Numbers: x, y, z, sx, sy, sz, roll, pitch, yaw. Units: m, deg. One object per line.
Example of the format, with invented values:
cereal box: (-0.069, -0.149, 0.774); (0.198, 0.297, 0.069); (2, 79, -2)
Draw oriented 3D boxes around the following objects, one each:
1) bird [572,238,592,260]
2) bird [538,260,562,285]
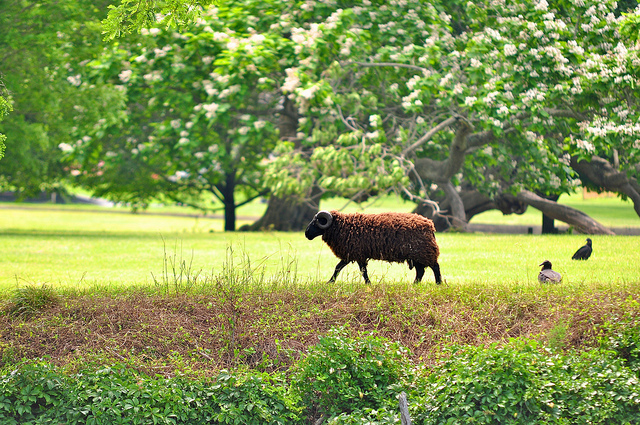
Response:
bird: (7.916, 1.117, 38.221); (0.598, 0.586, 0.341); (0, 4, 0)
bird: (6.525, 1.714, 36.112); (0.426, 0.507, 0.755); (3, 5, -16)
